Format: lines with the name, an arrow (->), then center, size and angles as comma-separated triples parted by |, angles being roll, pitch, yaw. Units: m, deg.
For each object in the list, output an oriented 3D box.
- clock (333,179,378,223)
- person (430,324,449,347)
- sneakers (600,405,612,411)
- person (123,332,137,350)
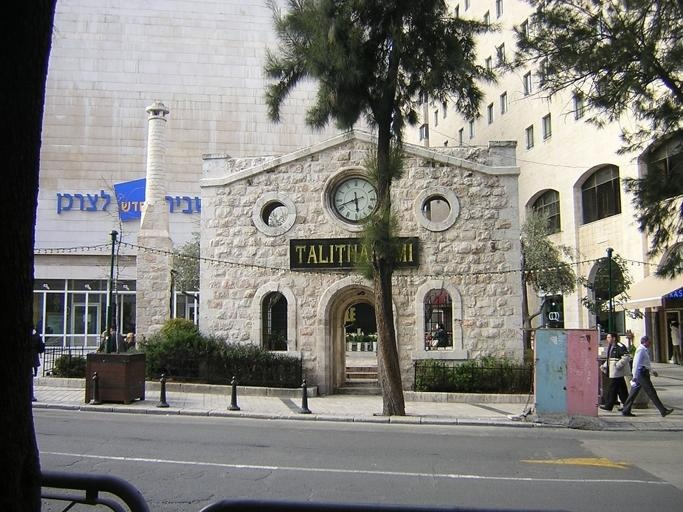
clock -> 0.546, -1.871, 29.929 | 1.408, 1.758, 0.140 | 1, -3, 4
person -> 3.447, 2.810, 30.674 | 0.641, 1.468, 0.720 | 2, -5, 5
sneakers -> 7.932, 4.618, 26.375 | 0.106, 0.149, 0.314 | 9, -3, -22
person -> -7.106, 2.912, 29.541 | 0.341, 0.641, 1.187 | 1, -8, -14
